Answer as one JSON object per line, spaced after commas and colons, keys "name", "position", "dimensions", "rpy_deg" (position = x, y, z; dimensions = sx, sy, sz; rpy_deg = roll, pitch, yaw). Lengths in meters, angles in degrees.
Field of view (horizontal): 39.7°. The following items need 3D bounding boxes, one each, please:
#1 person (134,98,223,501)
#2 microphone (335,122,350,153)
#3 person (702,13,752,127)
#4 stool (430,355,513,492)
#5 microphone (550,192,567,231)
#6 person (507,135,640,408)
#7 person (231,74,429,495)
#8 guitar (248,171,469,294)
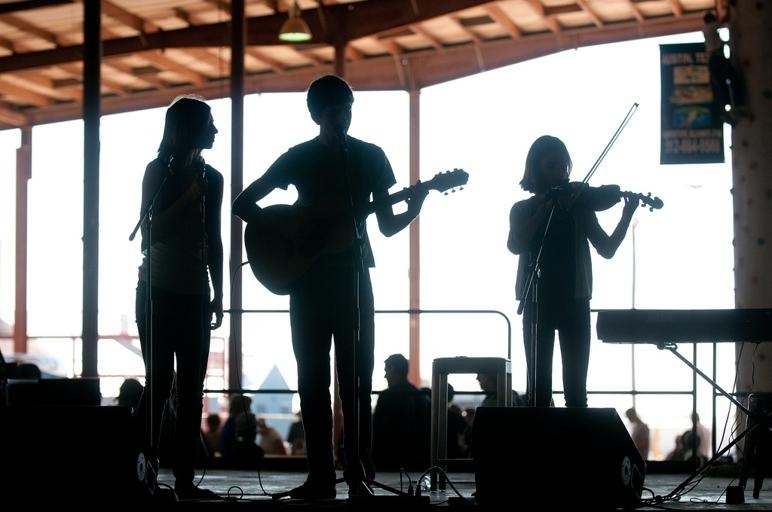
{"name": "person", "position": [-1.412, 0.279, 7.362], "dimensions": [0.583, 2.720, 0.361], "rpy_deg": [1, -8, -9]}
{"name": "microphone", "position": [-0.286, -0.769, 7.128], "dimensions": [0.080, 0.194, 0.112], "rpy_deg": [0, -8, -2]}
{"name": "person", "position": [3.326, -1.834, 10.501], "dimensions": [0.391, 1.138, 0.304], "rpy_deg": [-1, -8, 4]}
{"name": "stool", "position": [0.684, 1.280, 8.477], "dimensions": [0.831, 0.946, 0.813], "rpy_deg": [-3, 1, -15]}
{"name": "microphone", "position": [1.241, -0.338, 7.686], "dimensions": [0.109, 0.220, 0.031], "rpy_deg": [6, 4, -16]}
{"name": "person", "position": [1.306, 0.097, 7.729], "dimensions": [0.848, 1.945, 0.430], "rpy_deg": [-1, -8, 8]}
{"name": "person", "position": [-0.339, 0.205, 7.117], "dimensions": [1.084, 2.782, 0.482], "rpy_deg": [1, -8, -9]}
{"name": "guitar", "position": [-0.302, -0.251, 7.141], "dimensions": [1.604, 0.692, 0.232], "rpy_deg": [-26, -11, 7]}
